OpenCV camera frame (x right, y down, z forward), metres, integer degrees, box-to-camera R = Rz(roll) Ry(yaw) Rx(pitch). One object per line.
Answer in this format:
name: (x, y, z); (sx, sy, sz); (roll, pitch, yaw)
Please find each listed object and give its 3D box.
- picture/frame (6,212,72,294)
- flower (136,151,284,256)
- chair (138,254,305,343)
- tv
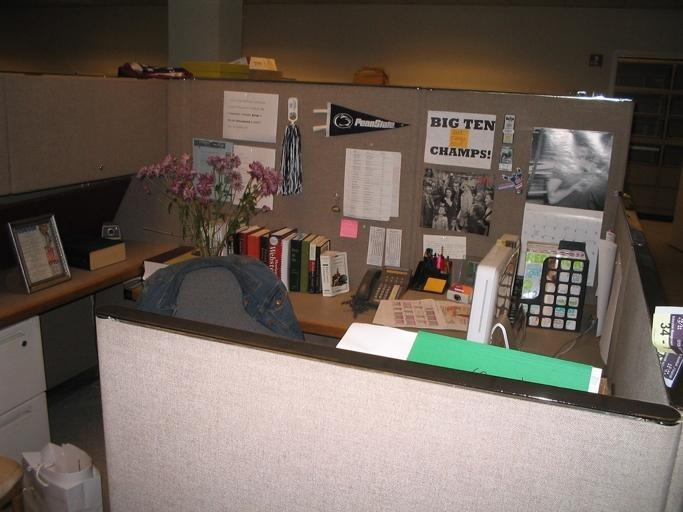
picture/frame: (-1.504, -0.004, 2.569); (0.043, 0.419, 0.311); (-5, 11, 32)
flower: (-0.710, -0.265, 2.810); (0.672, 0.573, 0.789); (-1, 15, -17)
chair: (-0.430, 0.131, 1.821); (0.380, 0.184, 0.501); (14, 4, 4)
tv: (0.522, 0.119, 1.753); (0.050, 0.258, 0.386); (7, 44, 21)
